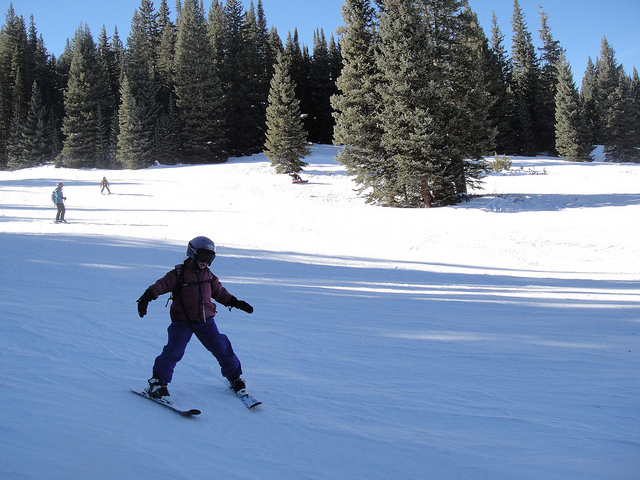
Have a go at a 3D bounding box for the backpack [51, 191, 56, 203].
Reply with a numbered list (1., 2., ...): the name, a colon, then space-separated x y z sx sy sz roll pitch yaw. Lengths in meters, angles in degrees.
1. backpack: -11.429 -1.806 30.123 0.120 0.413 0.395 -5 14 -21

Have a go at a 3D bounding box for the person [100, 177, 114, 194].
1. person: -12.889 -3.328 42.226 0.606 1.039 2.255 -4 14 -17

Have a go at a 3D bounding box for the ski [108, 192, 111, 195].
1. ski: -12.584 -2.767 41.842 0.190 0.181 0.045 5 -3 38

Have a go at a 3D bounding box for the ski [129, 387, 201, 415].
1. ski: -3.275 3.377 14.585 1.204 0.103 0.128 21 1 22

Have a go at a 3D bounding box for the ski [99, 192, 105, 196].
1. ski: -13.036 -2.724 41.896 0.167 0.056 1.654 -5 14 -22
